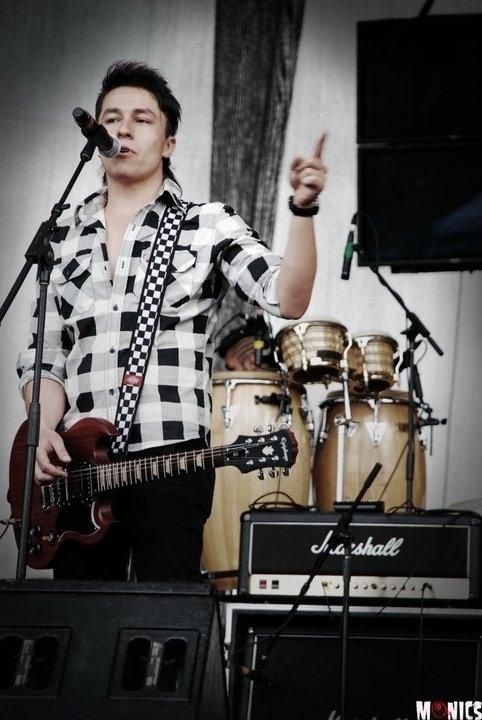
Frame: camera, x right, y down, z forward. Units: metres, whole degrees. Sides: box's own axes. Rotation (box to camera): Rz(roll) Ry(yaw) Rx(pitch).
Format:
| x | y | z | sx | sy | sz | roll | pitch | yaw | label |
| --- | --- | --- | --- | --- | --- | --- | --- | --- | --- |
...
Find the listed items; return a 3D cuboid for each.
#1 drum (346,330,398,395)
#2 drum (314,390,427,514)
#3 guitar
| x | y | z | sx | sy | sz | roll | pitch | yaw | label |
| --- | --- | --- | --- | --- | --- | --- | --- | --- | --- |
| 0.437 | 0.010 | 3.472 | 0.210 | 0.213 | 0.200 | 10 | -32 | -12 | drum |
| 0.458 | 0.357 | 3.476 | 0.470 | 0.446 | 0.384 | -7 | -18 | 32 | drum |
| -0.190 | 0.313 | 2.132 | 0.615 | 0.356 | 0.146 | 1 | 2 | 6 | guitar |
